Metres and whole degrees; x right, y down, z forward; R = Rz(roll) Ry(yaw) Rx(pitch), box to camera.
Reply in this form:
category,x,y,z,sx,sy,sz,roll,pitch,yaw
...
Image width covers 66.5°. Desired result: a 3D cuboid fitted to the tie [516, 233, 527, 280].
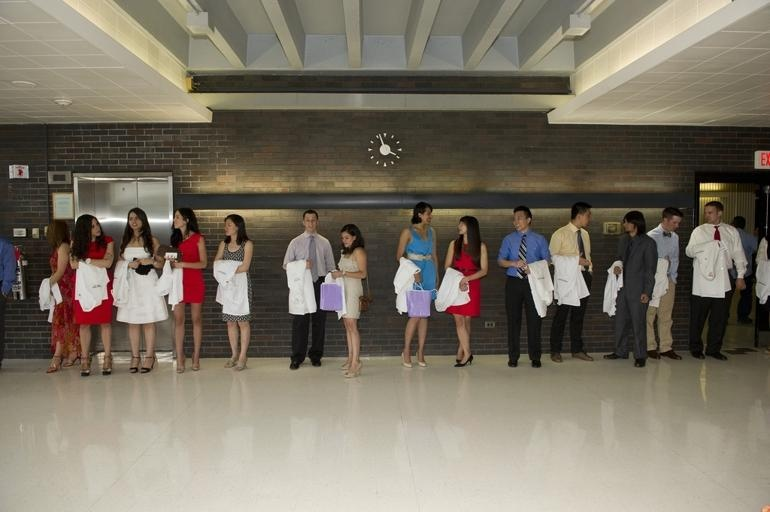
category,x,y,z,sx,sy,sz,roll,pitch,yaw
tie,2.026,0.000,8.697,0.125,0.625,0.191,2,11,14

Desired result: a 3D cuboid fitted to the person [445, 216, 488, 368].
category,x,y,z,sx,sy,sz,roll,pitch,yaw
person,1.196,0.561,8.722,0.598,2.282,0.400,0,11,5

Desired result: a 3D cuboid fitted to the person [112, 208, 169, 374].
category,x,y,z,sx,sy,sz,roll,pitch,yaw
person,-3.655,0.525,8.710,0.713,2.437,0.561,-4,11,-17

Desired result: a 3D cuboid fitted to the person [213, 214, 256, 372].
category,x,y,z,sx,sy,sz,roll,pitch,yaw
person,-2.290,0.555,8.898,0.562,2.377,0.721,-4,11,-16

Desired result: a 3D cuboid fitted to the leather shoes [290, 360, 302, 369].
category,x,y,z,sx,sy,sz,roll,pitch,yaw
leather shoes,-1.365,1.645,8.908,0.157,0.116,0.241,-1,11,-6

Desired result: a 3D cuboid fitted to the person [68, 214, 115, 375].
category,x,y,z,sx,sy,sz,roll,pitch,yaw
person,-4.257,0.557,8.624,0.582,2.289,0.551,-6,12,-26

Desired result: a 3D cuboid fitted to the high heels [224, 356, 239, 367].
category,x,y,z,sx,sy,sz,roll,pitch,yaw
high heels,-2.377,1.631,9.050,0.124,0.145,0.373,-2,-4,38

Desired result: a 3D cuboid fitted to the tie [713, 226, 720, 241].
category,x,y,z,sx,sy,sz,roll,pitch,yaw
tie,5.101,-0.344,9.023,0.094,0.201,0.162,5,12,25

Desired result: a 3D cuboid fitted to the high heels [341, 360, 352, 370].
category,x,y,z,sx,sy,sz,roll,pitch,yaw
high heels,-0.585,1.659,8.870,0.084,0.103,0.247,0,-8,9

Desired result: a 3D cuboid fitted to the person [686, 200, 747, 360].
category,x,y,z,sx,sy,sz,roll,pitch,yaw
person,5.111,0.388,9.149,0.815,2.439,0.579,3,11,17

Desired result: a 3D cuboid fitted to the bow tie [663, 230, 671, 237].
category,x,y,z,sx,sy,sz,roll,pitch,yaw
bow tie,4.395,-0.348,9.168,0.126,0.079,0.051,-1,11,-2

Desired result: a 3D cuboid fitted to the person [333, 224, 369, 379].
category,x,y,z,sx,sy,sz,roll,pitch,yaw
person,-0.511,0.639,8.445,0.383,2.148,0.481,7,13,33

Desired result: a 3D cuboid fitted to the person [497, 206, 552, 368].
category,x,y,z,sx,sy,sz,roll,pitch,yaw
person,2.061,0.475,8.803,0.741,2.371,0.473,2,11,14

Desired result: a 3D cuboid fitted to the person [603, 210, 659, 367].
category,x,y,z,sx,sy,sz,roll,pitch,yaw
person,3.756,0.505,8.908,0.398,2.321,0.714,-7,12,-30

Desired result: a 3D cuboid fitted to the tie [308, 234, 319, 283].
category,x,y,z,sx,sy,sz,roll,pitch,yaw
tie,-1.080,0.034,8.768,0.148,0.675,0.067,-9,14,-40

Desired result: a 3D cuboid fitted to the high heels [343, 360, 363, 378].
category,x,y,z,sx,sy,sz,roll,pitch,yaw
high heels,-0.470,1.673,8.570,0.125,0.186,0.372,-4,-11,19

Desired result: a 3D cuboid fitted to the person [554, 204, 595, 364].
category,x,y,z,sx,sy,sz,roll,pitch,yaw
person,2.895,0.409,9.201,0.699,2.483,0.727,-1,11,-4

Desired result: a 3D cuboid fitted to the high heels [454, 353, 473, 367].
category,x,y,z,sx,sy,sz,roll,pitch,yaw
high heels,1.203,1.609,8.972,0.369,0.162,0.122,-1,-4,-25

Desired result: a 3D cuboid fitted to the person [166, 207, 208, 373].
category,x,y,z,sx,sy,sz,roll,pitch,yaw
person,-2.990,0.499,8.898,0.562,2.432,0.833,-4,11,-20

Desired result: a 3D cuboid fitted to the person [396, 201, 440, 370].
category,x,y,z,sx,sy,sz,roll,pitch,yaw
person,0.491,0.458,8.936,0.570,2.543,0.795,1,11,7
